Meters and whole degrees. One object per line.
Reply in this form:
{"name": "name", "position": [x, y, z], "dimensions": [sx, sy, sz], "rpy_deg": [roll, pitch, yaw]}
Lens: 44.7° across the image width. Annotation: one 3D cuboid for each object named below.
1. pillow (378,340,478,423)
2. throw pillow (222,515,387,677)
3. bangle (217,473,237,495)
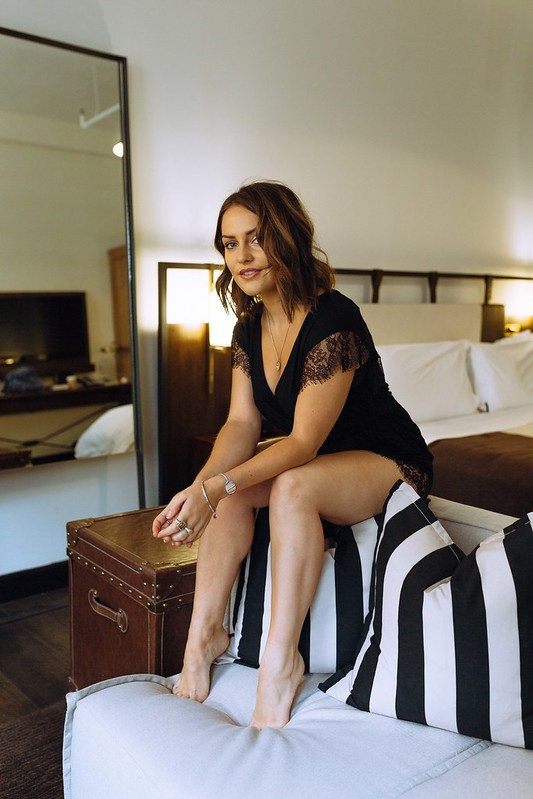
{"name": "pillow", "position": [0.834, -0.097, 3.420], "dimensions": [0.503, 0.458, 0.145], "rpy_deg": [3, -23, -26]}
{"name": "throw pillow", "position": [0.066, 0.392, 1.239], "dimensions": [0.278, 0.313, 0.100], "rpy_deg": [9, -4, 24]}
{"name": "bangle", "position": [-0.074, 0.166, 1.255], "dimensions": [0.016, 0.037, 0.033], "rpy_deg": [-38, -21, 24]}
